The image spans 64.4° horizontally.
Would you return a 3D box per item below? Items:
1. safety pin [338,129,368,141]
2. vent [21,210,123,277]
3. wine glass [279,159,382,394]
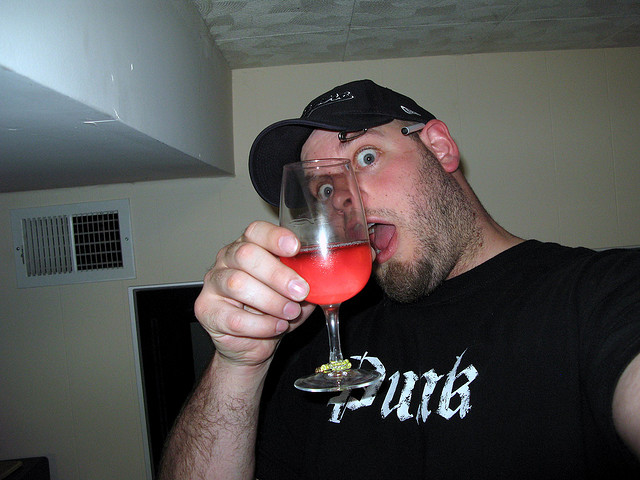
[{"bbox_3d":[0.095,-0.323,1.593,0.071,0.019,0.041,-9,-21,2],"label":"safety pin"},{"bbox_3d":[-1.155,0.015,2.371,0.472,0.293,0.070,0,1,9],"label":"vent"},{"bbox_3d":[0.023,0.091,1.294,0.249,0.580,0.189,-1,1,-5],"label":"wine glass"}]
